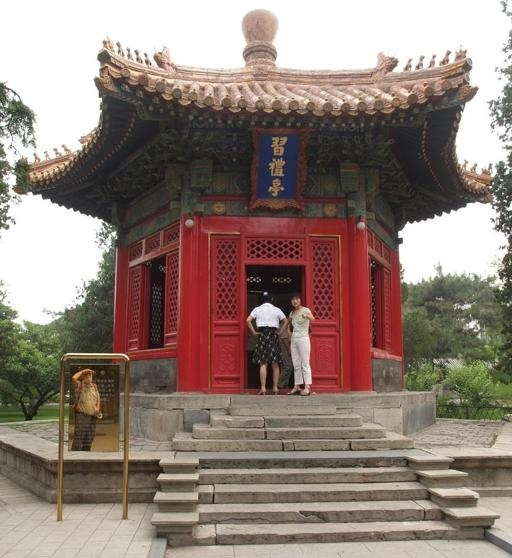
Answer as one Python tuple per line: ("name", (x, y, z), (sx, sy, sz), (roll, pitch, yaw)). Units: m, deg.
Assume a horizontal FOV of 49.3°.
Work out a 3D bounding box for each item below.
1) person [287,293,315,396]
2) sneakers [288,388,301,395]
("person", (0.669, 1.004, 8.326), (0.384, 1.455, 0.592), (-2, -14, 3))
("sneakers", (0.637, 1.700, 8.393), (0.322, 0.121, 0.109), (11, -15, -41))
